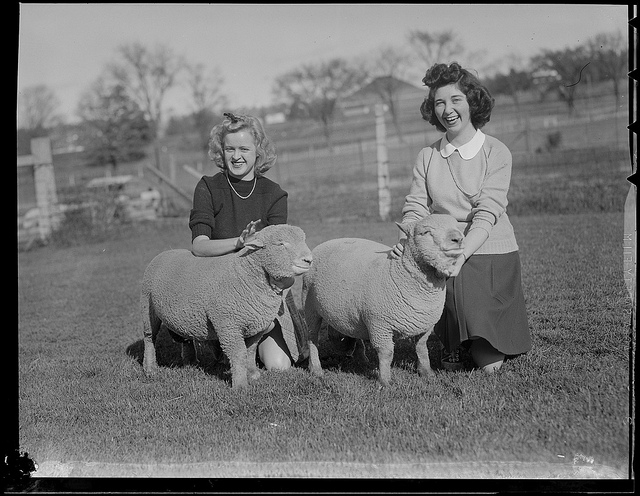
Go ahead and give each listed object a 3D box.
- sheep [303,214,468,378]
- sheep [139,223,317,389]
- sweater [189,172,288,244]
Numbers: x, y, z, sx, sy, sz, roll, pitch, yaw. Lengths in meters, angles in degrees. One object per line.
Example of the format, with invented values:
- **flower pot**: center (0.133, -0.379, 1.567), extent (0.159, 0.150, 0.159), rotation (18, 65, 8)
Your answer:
- **sheep**: center (0.630, 0.505, 9.866), extent (1.112, 1.697, 2.137), rotation (-5, 9, -38)
- **sheep**: center (-0.955, 0.520, 9.786), extent (1.936, 1.595, 0.881), rotation (4, 10, 28)
- **sweater**: center (-0.818, -0.527, 9.969), extent (0.949, 0.748, 0.472), rotation (-1, 48, -9)
